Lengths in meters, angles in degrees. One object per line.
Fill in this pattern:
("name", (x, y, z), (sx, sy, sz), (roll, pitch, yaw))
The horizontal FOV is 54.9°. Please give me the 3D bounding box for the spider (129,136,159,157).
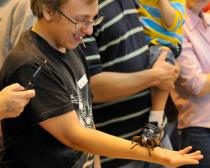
("spider", (0.199, 0.279, 0.982), (0.092, 0.037, 0.094), (24, 19, 37))
